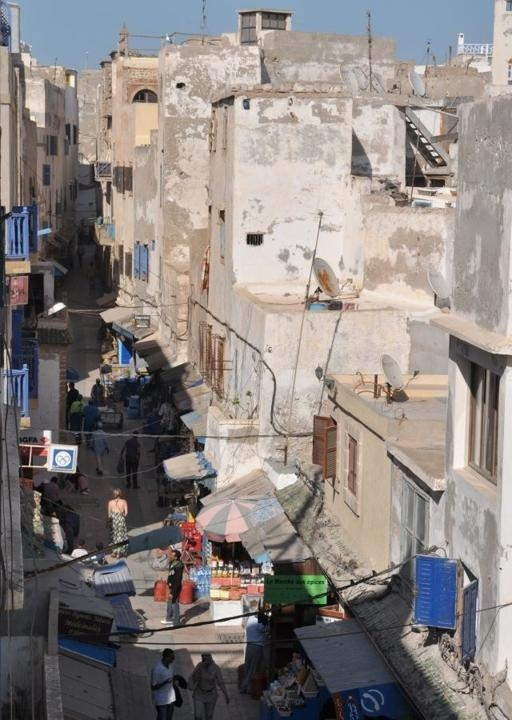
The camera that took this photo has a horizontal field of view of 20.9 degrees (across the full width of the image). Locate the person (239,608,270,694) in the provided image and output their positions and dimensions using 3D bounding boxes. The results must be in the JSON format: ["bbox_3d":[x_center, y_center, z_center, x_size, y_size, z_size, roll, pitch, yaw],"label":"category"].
[{"bbox_3d":[-0.027,4.009,18.765,0.383,0.919,1.073,-1,7,0],"label":"person"}]

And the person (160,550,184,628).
[{"bbox_3d":[-1.257,3.420,21.001,0.307,1.038,1.241,-1,7,-3],"label":"person"}]
